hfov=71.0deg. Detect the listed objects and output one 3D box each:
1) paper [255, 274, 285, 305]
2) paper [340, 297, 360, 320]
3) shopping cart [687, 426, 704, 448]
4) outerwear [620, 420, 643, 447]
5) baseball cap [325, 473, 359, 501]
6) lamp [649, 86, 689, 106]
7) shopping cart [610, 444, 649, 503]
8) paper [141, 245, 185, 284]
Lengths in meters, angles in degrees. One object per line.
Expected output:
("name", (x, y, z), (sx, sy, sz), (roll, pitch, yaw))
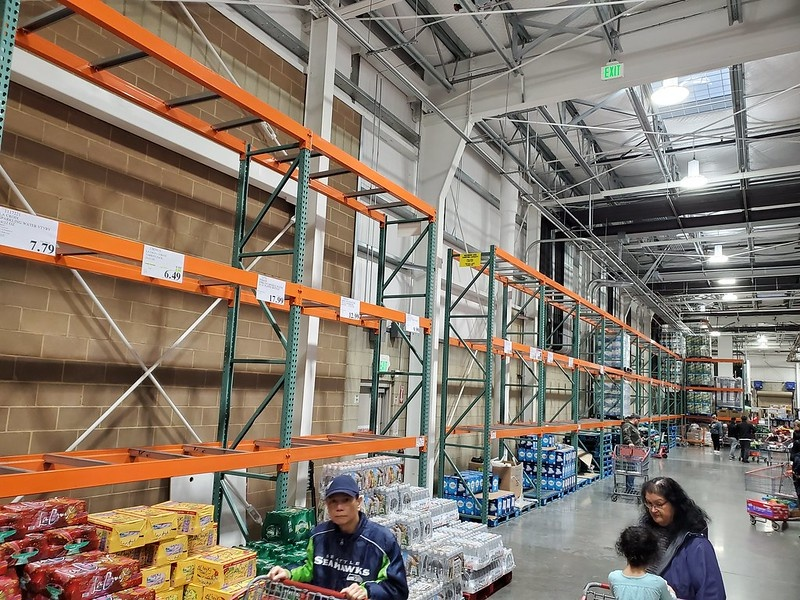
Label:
("paper", (-1.370, -0.100, 5.879), (0.041, 0.242, 0.375), (-7, -14, 32))
("paper", (-0.603, 0.106, 6.726), (0.040, 0.202, 0.286), (-4, -11, 34))
("shopping cart", (14.075, 6.385, 26.583), (0.922, 1.048, 0.828), (-1, -1, 41))
("outerwear", (5.967, 3.455, 14.498), (0.403, 0.729, 1.150), (-11, -19, 38))
("baseball cap", (-0.412, 1.343, 4.054), (0.234, 0.157, 0.186), (3, -17, -12))
("lamp", (3.975, -3.024, 8.227), (0.448, 0.193, 0.395), (3, -17, -12))
("shopping cart", (5.258, 3.916, 12.843), (0.824, 1.208, 0.938), (-1, -9, 42))
("paper", (-2.131, -0.299, 5.016), (0.052, 0.274, 0.396), (-5, -16, 38))
